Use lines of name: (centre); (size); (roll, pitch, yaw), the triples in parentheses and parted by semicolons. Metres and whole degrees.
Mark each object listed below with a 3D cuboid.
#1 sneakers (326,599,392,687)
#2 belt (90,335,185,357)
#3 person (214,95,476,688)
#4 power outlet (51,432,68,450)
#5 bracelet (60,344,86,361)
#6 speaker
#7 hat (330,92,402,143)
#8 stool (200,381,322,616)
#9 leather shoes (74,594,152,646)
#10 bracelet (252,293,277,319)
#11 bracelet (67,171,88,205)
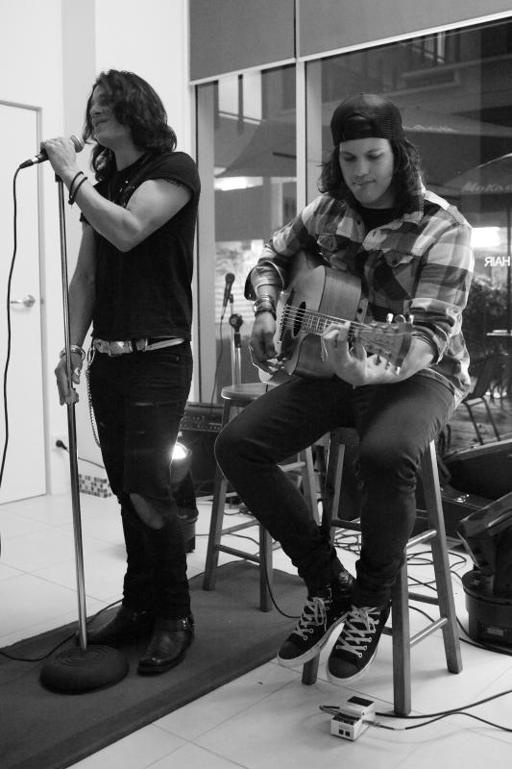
sneakers: (0.225, 0.562, 1.543); (0.069, 0.091, 0.229); (3, 12, 20)
belt: (-0.309, -0.095, 1.796); (0.249, 0.047, 0.136); (0, 2, 2)
person: (0.182, -0.011, 1.595); (0.565, 1.277, 0.598); (1, 2, 20)
power outlet: (-1.080, 0.322, 3.891); (0.023, 0.048, 0.081); (-20, -32, 34)
bracelet: (-0.466, -0.083, 1.810); (0.051, 0.054, 0.021); (-9, -19, 44)
speaker: (-0.320, 0.327, 3.888); (0.246, 0.441, 0.472); (-13, -5, -9)
hat: (0.243, -0.602, 1.593); (0.160, 0.104, 0.172); (0, 25, 23)
stool: (-0.038, 0.403, 2.476); (0.402, 0.672, 0.416); (-5, -20, 35)
leather shoes: (-0.377, 0.650, 1.939); (0.230, 0.099, 0.078); (-1, 10, -11)
bracelet: (0.018, -0.210, 1.879); (0.047, 0.050, 0.062); (1, -12, 1)
bracelet: (-0.414, -0.452, 1.629); (0.018, 0.073, 0.054); (14, 19, -13)
